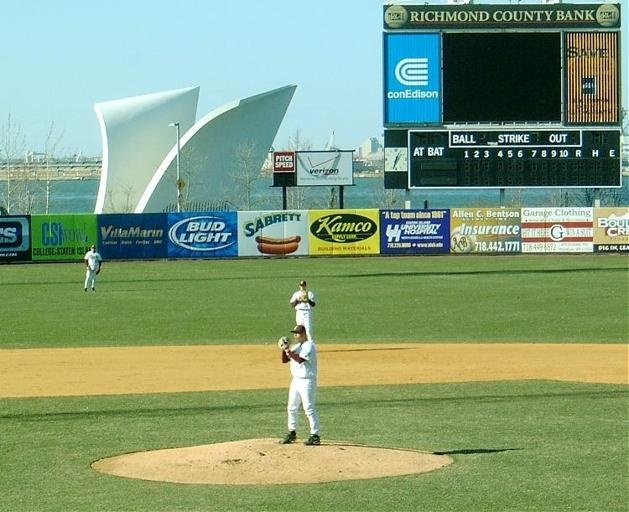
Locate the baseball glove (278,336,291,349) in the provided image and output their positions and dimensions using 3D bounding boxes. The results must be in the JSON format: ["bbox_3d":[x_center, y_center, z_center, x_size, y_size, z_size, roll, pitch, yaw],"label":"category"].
[{"bbox_3d":[-1.362,3.436,67.056,0.361,0.572,0.524,-5,-1,-3],"label":"baseball glove"}]

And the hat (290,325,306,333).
[{"bbox_3d":[-0.750,2.887,67.598,0.549,0.322,0.898,-2,2,-5],"label":"hat"}]
